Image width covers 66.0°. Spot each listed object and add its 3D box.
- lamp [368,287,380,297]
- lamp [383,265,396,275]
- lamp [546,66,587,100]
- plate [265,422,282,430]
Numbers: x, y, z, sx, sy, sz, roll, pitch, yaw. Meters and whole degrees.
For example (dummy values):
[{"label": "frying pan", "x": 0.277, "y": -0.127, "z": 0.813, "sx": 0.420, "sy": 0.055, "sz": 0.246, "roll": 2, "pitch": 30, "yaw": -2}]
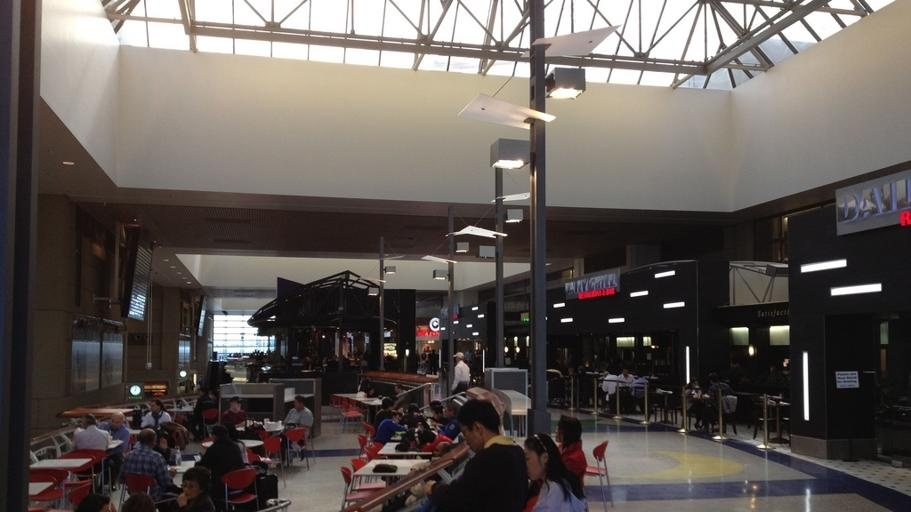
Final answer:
[{"label": "lamp", "x": -4.151, "y": 1.851, "z": 35.668, "sx": 0.513, "sy": 0.350, "sz": 0.503, "roll": 2, "pitch": -1, "yaw": -35}, {"label": "lamp", "x": -3.371, "y": 0.715, "z": 35.490, "sx": 0.606, "sy": 0.401, "sz": 0.320, "roll": 0, "pitch": 9, "yaw": -13}, {"label": "lamp", "x": 2.319, "y": -3.750, "z": 15.143, "sx": 0.701, "sy": 0.439, "sz": 0.694, "roll": 0, "pitch": -2, "yaw": -6}, {"label": "plate", "x": -5.452, "y": 5.144, "z": 21.012, "sx": 0.395, "sy": 0.126, "sz": 0.386, "roll": 2, "pitch": -2, "yaw": -43}]
